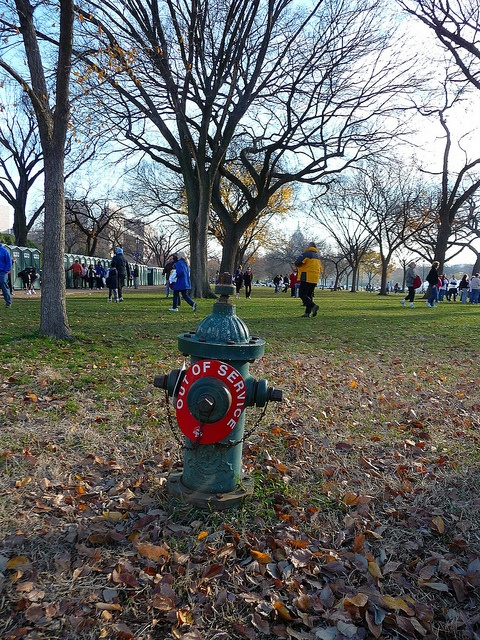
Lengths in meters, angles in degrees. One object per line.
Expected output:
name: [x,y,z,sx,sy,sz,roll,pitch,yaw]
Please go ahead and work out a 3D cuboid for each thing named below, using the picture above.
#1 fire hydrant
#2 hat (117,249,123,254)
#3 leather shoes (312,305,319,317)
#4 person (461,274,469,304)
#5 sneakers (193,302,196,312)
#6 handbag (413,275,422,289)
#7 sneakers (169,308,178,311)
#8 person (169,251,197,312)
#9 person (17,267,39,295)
fire hydrant: [-0.133,0.431,2.990,0.551,1.433,0.607,-2,10,-32]
hat: [-3.835,-2.150,15.185,0.249,0.192,0.176,3,5,22]
leather shoes: [2.270,-0.199,14.107,0.139,0.382,0.273,8,25,-3]
person: [14.547,-1.961,30.937,0.600,1.711,1.601,7,10,24]
sneakers: [-1.364,-0.347,14.495,0.106,0.306,0.143,-5,11,-43]
handbag: [7.121,-1.479,19.325,0.413,0.515,0.187,-1,-2,-30]
sneakers: [-2.033,-0.274,14.646,0.228,0.094,0.109,6,0,1]
person: [-1.655,-1.096,14.114,0.957,1.776,0.712,2,-1,2]
person: [-9.826,-1.749,22.222,0.625,1.199,1.514,-1,10,-26]
